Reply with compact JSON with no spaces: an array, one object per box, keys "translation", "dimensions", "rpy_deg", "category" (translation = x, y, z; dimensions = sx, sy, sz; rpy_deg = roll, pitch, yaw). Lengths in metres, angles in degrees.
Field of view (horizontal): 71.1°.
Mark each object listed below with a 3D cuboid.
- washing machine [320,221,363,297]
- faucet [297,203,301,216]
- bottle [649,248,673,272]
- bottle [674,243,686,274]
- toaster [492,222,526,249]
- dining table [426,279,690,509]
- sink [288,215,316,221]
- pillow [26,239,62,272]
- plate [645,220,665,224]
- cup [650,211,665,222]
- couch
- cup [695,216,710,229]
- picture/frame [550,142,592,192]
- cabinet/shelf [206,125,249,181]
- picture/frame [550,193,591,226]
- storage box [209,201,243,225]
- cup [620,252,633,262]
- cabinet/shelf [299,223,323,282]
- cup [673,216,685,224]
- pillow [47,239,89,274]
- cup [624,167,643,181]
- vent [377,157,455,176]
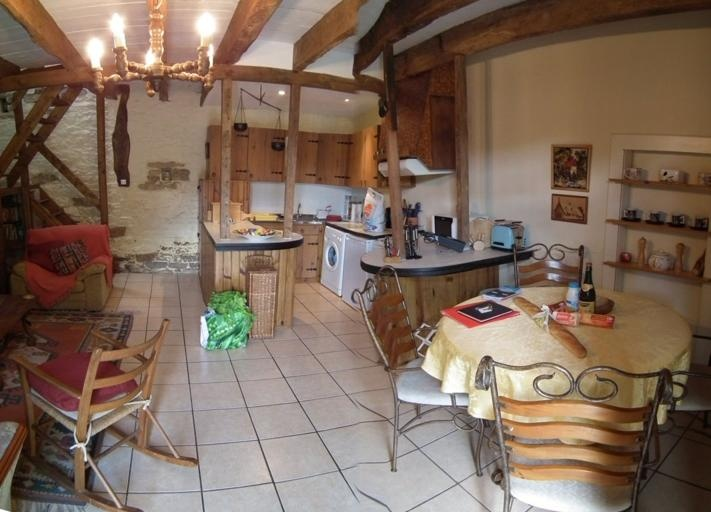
[{"translation":[-0.176,0.051,6.543],"dimensions":[0.525,0.904,0.957],"rpy_deg":[3,6,-13],"category":"washing machine"},{"translation":[-0.916,-0.756,8.042],"dimensions":[0.067,0.179,0.080],"rpy_deg":[1,7,-2],"category":"faucet"},{"translation":[2.524,0.042,4.125],"dimensions":[0.172,0.162,0.169],"rpy_deg":[1,5,3],"category":"bottle"},{"translation":[2.675,0.012,4.091],"dimensions":[0.083,0.233,0.052],"rpy_deg":[3,7,14],"category":"bottle"},{"translation":[1.572,-0.206,5.169],"dimensions":[0.294,0.286,0.274],"rpy_deg":[7,9,44],"category":"toaster"},{"translation":[1.292,0.608,3.155],"dimensions":[1.271,0.861,1.241],"rpy_deg":[1,12,12],"category":"dining table"},{"translation":[-0.799,-0.603,7.866],"dimensions":[0.365,0.090,0.389],"rpy_deg":[0,6,-6],"category":"sink"},{"translation":[-3.640,0.007,5.800],"dimensions":[0.335,0.339,0.255],"rpy_deg":[-3,7,-28],"category":"pillow"},{"translation":[2.500,-0.281,4.161],"dimensions":[0.141,0.034,0.079],"rpy_deg":[4,7,28],"category":"plate"},{"translation":[2.513,-0.323,4.152],"dimensions":[0.105,0.083,0.085],"rpy_deg":[5,0,0],"category":"cup"},{"translation":[-3.447,0.137,6.085],"dimensions":[1.126,0.962,1.029],"rpy_deg":[-3,9,-23],"category":"couch"},{"translation":[2.718,-0.260,3.916],"dimensions":[0.089,0.093,0.087],"rpy_deg":[-2,5,0],"category":"cup"},{"translation":[2.065,-0.852,4.730],"dimensions":[0.040,0.526,0.463],"rpy_deg":[-10,13,-31],"category":"picture/frame"},{"translation":[-1.923,-1.523,7.339],"dimensions":[0.671,0.793,0.418],"rpy_deg":[1,7,1],"category":"cabinet/shelf"},{"translation":[2.077,-0.452,4.778],"dimensions":[0.014,0.254,0.310],"rpy_deg":[-8,14,-33],"category":"picture/frame"},{"translation":[-1.817,-0.618,6.984],"dimensions":[0.428,0.275,0.723],"rpy_deg":[-1,6,-14],"category":"storage box"},{"translation":[2.370,0.011,4.348],"dimensions":[0.087,0.065,0.086],"rpy_deg":[2,-2,0],"category":"cup"},{"translation":[-0.665,-0.042,7.374],"dimensions":[0.367,0.854,0.174],"rpy_deg":[0,7,-8],"category":"cabinet/shelf"},{"translation":[2.617,-0.289,4.034],"dimensions":[0.059,0.062,0.091],"rpy_deg":[3,9,20],"category":"cup"},{"translation":[-3.386,0.014,5.871],"dimensions":[0.391,0.397,0.120],"rpy_deg":[-12,-17,-25],"category":"pillow"},{"translation":[2.376,-0.701,4.262],"dimensions":[0.133,0.106,0.119],"rpy_deg":[4,7,25],"category":"cup"},{"translation":[0.703,-1.026,5.751],"dimensions":[0.807,0.176,0.986],"rpy_deg":[0,6,-5],"category":"vent"}]
